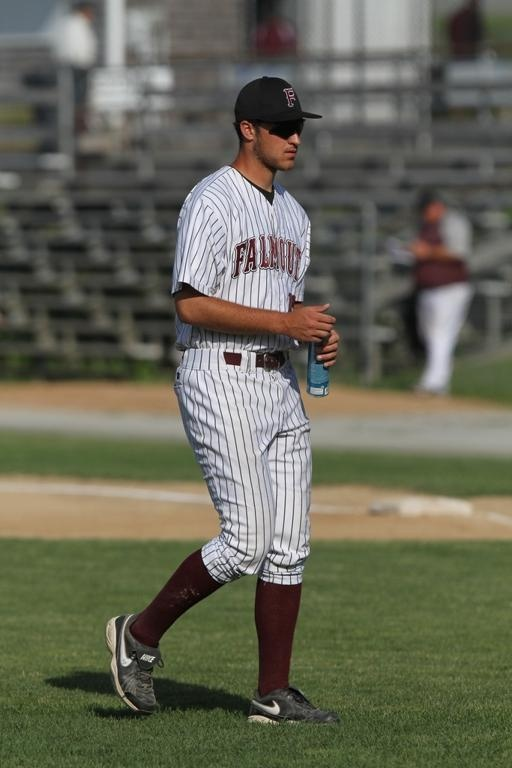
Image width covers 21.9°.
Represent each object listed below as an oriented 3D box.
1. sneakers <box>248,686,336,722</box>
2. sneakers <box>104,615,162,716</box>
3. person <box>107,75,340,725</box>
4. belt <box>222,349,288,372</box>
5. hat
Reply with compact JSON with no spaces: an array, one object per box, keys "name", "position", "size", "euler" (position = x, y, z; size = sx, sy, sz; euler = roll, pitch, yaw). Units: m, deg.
[{"name":"sneakers","position":[0.109,0.894,3.717],"size":[0.250,0.106,0.096],"euler":[1,-5,4]},{"name":"sneakers","position":[-0.348,0.782,3.776],"size":[0.138,0.293,0.113],"euler":[-34,-23,30]},{"name":"person","position":[-0.101,0.036,3.750],"size":[0.691,1.809,0.401],"euler":[-3,3,-5]},{"name":"belt","position":[0.008,-0.063,3.683],"size":[0.057,0.059,0.217],"euler":[0,4,43]},{"name":"hat","position":[0.064,-0.789,3.724],"size":[0.209,0.110,0.134],"euler":[1,10,25]}]
